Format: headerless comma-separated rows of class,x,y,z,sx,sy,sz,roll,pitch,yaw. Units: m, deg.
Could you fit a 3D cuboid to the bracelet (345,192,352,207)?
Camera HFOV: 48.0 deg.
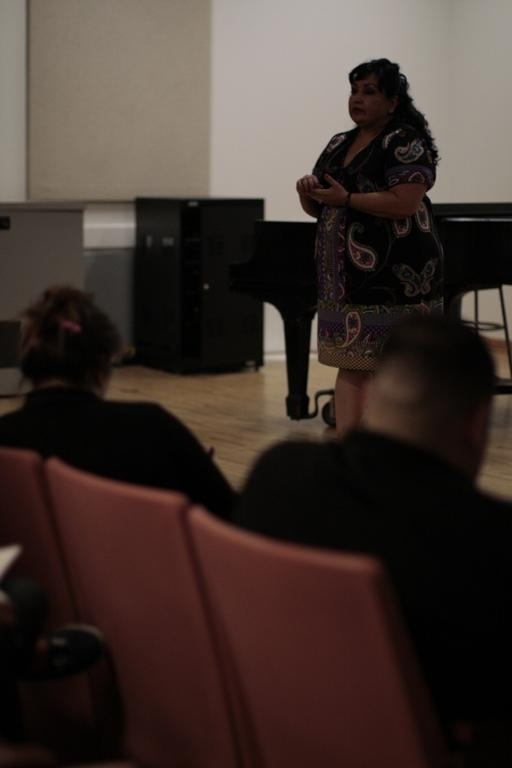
bracelet,0.358,-0.708,2.217,0.028,0.061,0.043,2,17,8

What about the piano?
piano,0.818,-0.694,4.116,1.838,1.478,1.261,1,3,4
